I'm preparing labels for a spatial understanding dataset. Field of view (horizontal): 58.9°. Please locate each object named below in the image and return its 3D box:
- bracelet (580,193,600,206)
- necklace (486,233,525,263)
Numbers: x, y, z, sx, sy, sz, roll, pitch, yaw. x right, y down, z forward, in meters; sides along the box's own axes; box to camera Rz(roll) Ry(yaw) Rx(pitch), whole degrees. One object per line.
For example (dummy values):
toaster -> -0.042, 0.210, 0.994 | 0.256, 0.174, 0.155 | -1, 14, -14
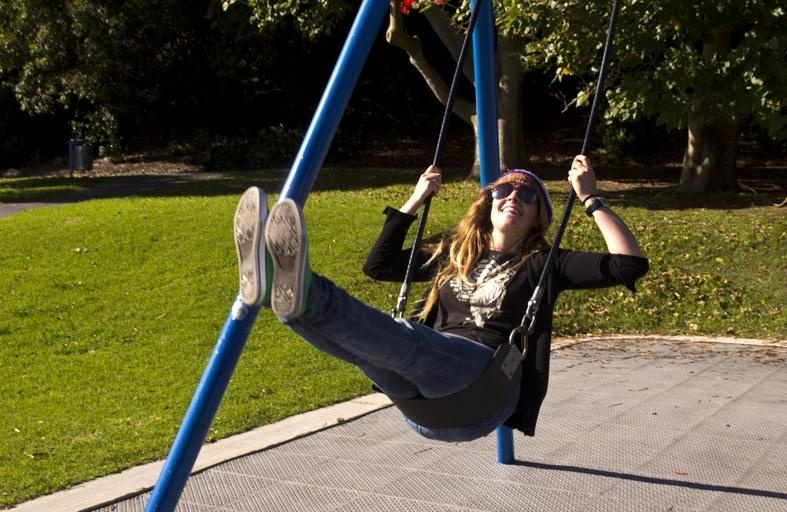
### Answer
bracelet -> 1.502, -0.433, 5.329 | 0.095, 0.039, 0.101 | -24, 7, 40
necklace -> 0.887, -0.064, 5.539 | 0.222, 0.185, 0.172 | 19, 6, 24
